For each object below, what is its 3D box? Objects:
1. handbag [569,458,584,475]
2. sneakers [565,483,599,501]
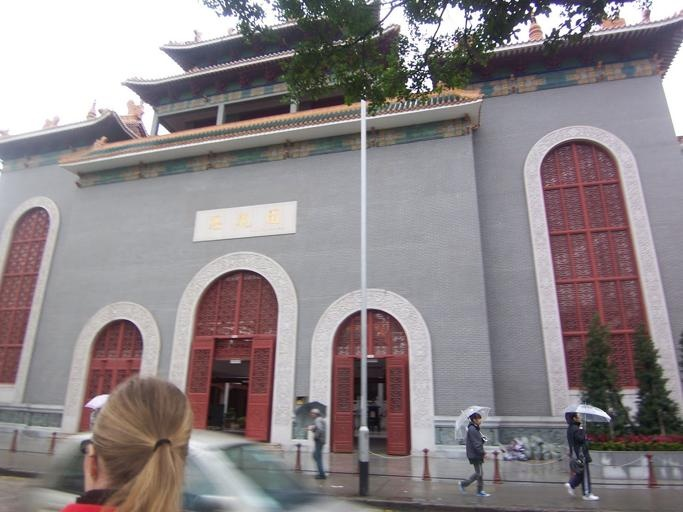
[{"bbox_3d":[4.086,3.612,8.565,0.242,0.265,0.193,-12,-23,30],"label":"handbag"},{"bbox_3d":[4.176,4.110,8.680,0.589,0.202,0.195,-11,-17,40],"label":"sneakers"}]
